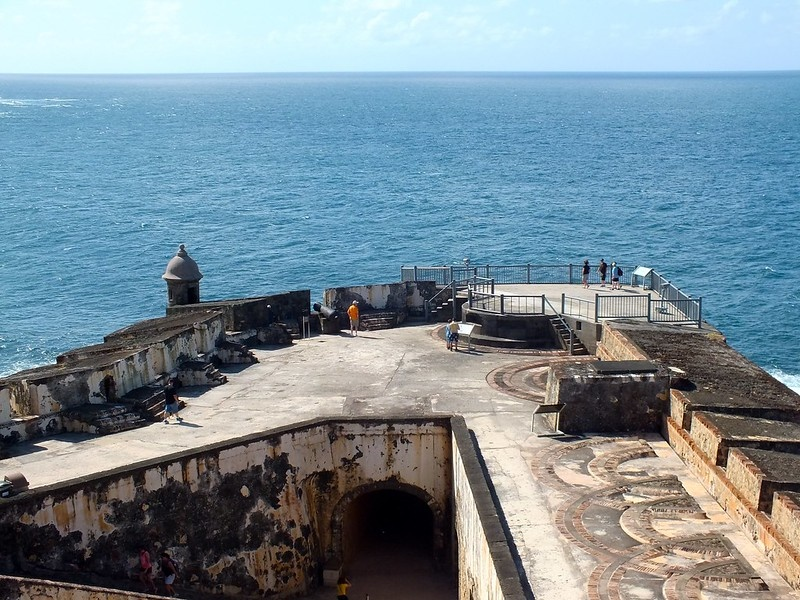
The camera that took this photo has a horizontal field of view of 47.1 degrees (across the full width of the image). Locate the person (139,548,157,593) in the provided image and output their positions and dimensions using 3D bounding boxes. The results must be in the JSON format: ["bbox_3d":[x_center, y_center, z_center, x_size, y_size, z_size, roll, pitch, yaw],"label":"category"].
[{"bbox_3d":[-8.179,8.679,29.541,0.427,1.292,0.992,-10,23,-17],"label":"person"}]

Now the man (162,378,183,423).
[{"bbox_3d":[-8.497,3.731,34.151,0.614,1.572,0.563,-1,4,5],"label":"man"}]
